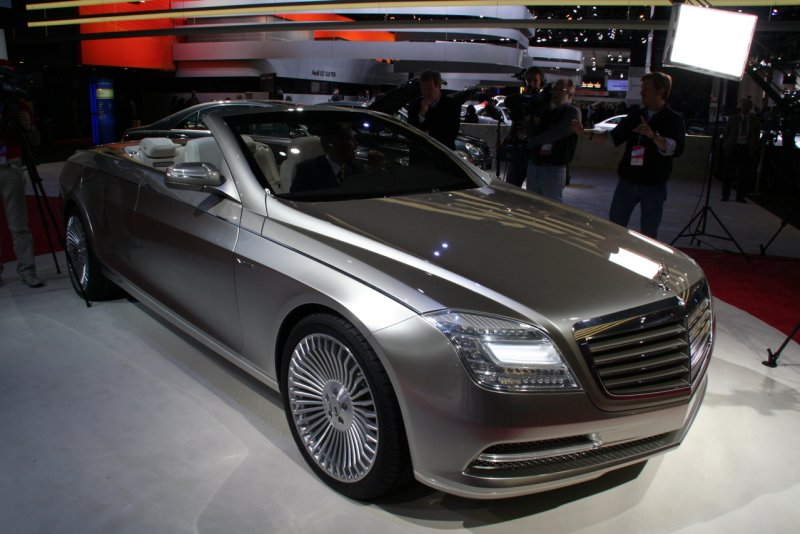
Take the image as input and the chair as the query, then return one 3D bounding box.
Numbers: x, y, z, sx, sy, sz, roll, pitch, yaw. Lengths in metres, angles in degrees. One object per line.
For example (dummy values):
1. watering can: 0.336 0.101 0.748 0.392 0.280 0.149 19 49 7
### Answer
1. chair: -1.144 -0.688 3.094 0.997 0.293 0.594 9 15 14
